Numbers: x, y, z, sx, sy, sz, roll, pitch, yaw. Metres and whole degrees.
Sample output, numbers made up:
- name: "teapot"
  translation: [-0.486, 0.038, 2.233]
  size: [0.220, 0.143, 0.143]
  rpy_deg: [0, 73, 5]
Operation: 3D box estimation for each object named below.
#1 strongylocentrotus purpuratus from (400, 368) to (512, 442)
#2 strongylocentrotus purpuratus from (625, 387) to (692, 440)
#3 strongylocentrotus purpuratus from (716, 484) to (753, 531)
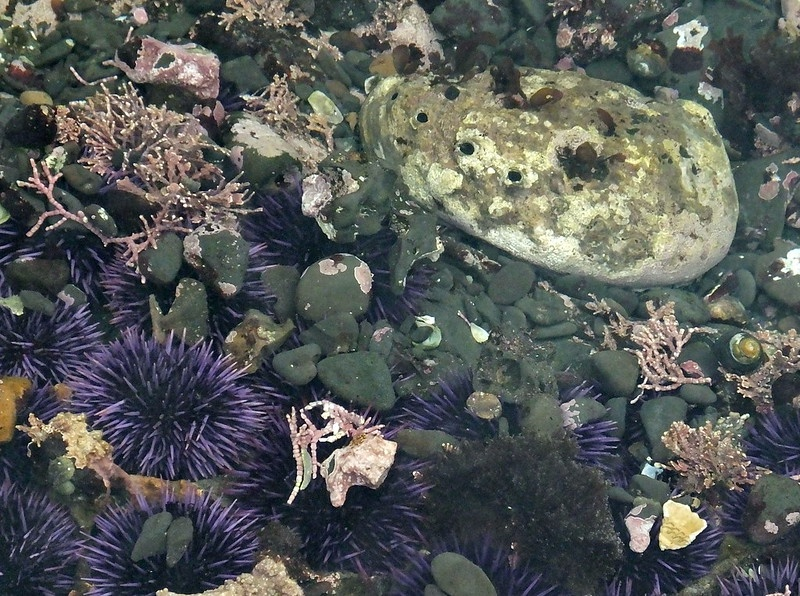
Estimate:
- name: "strongylocentrotus purpuratus"
  translation: [0.469, 1.138, 10.812]
  size: [0.722, 0.397, 0.761]
  rpy_deg: [-34, 43, -26]
- name: "strongylocentrotus purpuratus"
  translation: [2.646, 1.174, 11.122]
  size: [0.566, 0.239, 0.414]
  rpy_deg: [-33, 71, -25]
- name: "strongylocentrotus purpuratus"
  translation: [3.238, 2.042, 10.632]
  size: [0.235, 0.360, 0.366]
  rpy_deg: [23, 85, -40]
